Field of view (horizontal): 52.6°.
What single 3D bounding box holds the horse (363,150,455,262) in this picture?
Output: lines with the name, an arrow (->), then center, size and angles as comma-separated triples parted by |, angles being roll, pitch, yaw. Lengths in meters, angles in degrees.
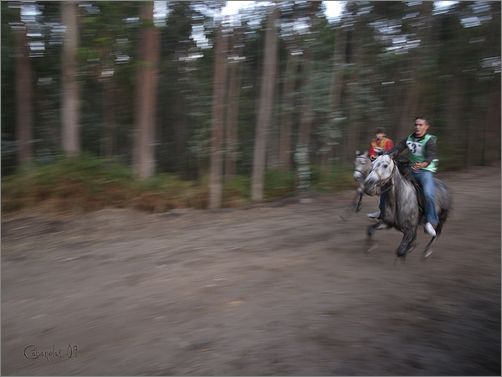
horse -> 4.137, 0.500, 13.602 | 2.400, 2.863, 1.400 | 1, 13, 3
